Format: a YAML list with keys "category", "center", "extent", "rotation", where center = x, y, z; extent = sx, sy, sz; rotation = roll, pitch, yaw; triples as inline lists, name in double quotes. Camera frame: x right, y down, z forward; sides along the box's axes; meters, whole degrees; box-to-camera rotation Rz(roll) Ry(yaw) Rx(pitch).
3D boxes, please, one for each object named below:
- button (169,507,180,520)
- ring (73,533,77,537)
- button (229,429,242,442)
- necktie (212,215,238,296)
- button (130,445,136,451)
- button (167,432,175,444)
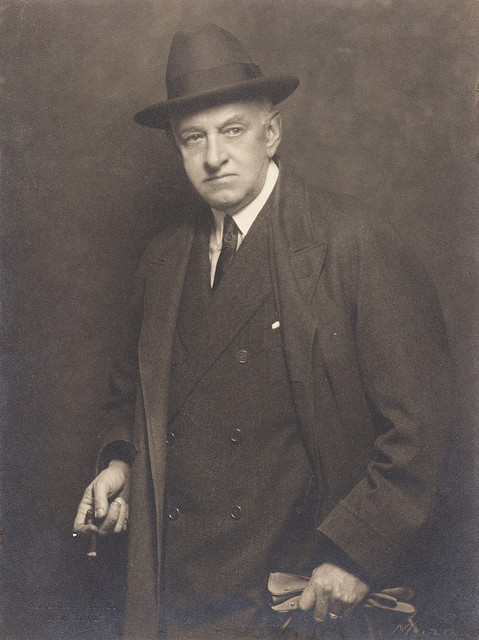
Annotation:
- category: "button"
  center: [-0.217, 0.658, 3.689]
  extent: [0.033, 0.039, 0.008]
  rotation: [-6, 1, 20]
- category: "ring"
  center: [-0.573, 0.749, 3.817]
  extent: [0.007, 0.012, 0.003]
  rotation: [0, 3, 1]
- category: "button"
  center: [-0.014, 0.384, 3.638]
  extent: [0.034, 0.040, 0.009]
  rotation: [5, -2, 17]
- category: "necktie"
  center: [-0.043, -0.235, 3.704]
  extent: [0.050, 0.365, 0.036]
  rotation: [6, -14, 16]
- category: "button"
  center: [-0.366, 0.439, 3.764]
  extent: [0.015, 0.016, 0.004]
  rotation: [1, -1, 25]
- category: "button"
  center: [-0.229, 0.409, 3.705]
  extent: [0.028, 0.034, 0.008]
  rotation: [-10, 3, 16]
